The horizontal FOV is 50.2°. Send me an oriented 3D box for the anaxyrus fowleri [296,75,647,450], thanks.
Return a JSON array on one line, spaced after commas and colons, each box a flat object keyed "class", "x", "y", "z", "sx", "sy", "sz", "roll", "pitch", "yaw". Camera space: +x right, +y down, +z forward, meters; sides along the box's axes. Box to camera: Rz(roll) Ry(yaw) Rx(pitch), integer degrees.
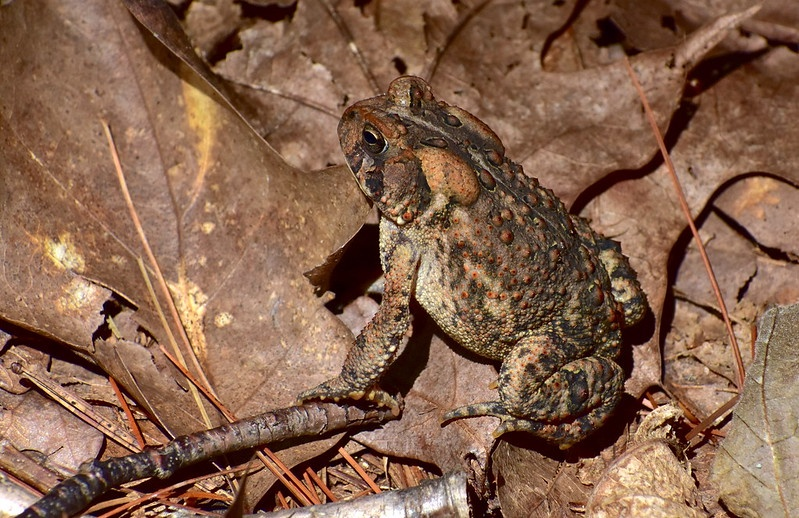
[{"class": "anaxyrus fowleri", "x": 0.449, "y": 0.065, "z": 4.812, "sx": 1.223, "sy": 3.231, "sz": 2.078, "roll": 1, "pitch": 93, "yaw": -8}]
